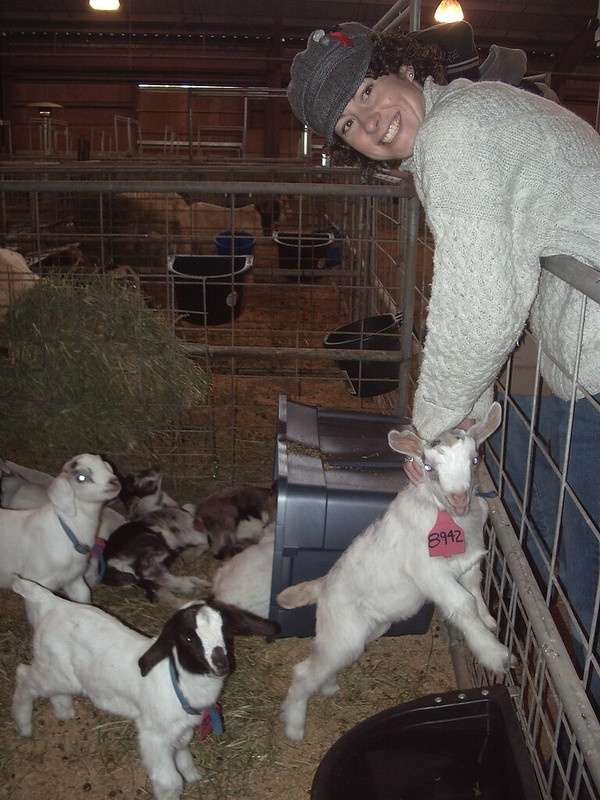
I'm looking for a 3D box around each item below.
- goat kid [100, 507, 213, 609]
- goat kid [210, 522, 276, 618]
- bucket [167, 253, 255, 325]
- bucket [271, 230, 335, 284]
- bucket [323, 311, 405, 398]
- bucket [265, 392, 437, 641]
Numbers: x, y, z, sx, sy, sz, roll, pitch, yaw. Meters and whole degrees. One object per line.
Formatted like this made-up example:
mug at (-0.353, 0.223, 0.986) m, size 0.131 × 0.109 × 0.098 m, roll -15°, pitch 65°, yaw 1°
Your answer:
goat kid at (-0.675, 0.757, 2.998) m, size 0.632 × 0.400 × 0.391 m, roll -14°, pitch -12°, yaw -28°
goat kid at (-0.186, 0.684, 2.565) m, size 0.203 × 0.188 × 0.368 m, roll -14°, pitch 44°, yaw 29°
bucket at (-0.676, -0.896, 4.997) m, size 0.716 × 0.486 × 0.408 m, roll 1°, pitch 14°, yaw 6°
bucket at (0.108, -1.859, 7.970) m, size 0.716 × 0.479 × 0.711 m, roll -4°, pitch 20°, yaw 1°
bucket at (0.438, -0.309, 4.106) m, size 0.581 × 0.395 × 0.506 m, roll -19°, pitch 22°, yaw 0°
bucket at (0.234, 0.598, 2.796) m, size 0.620 × 0.788 × 1.139 m, roll 6°, pitch 7°, yaw 2°
